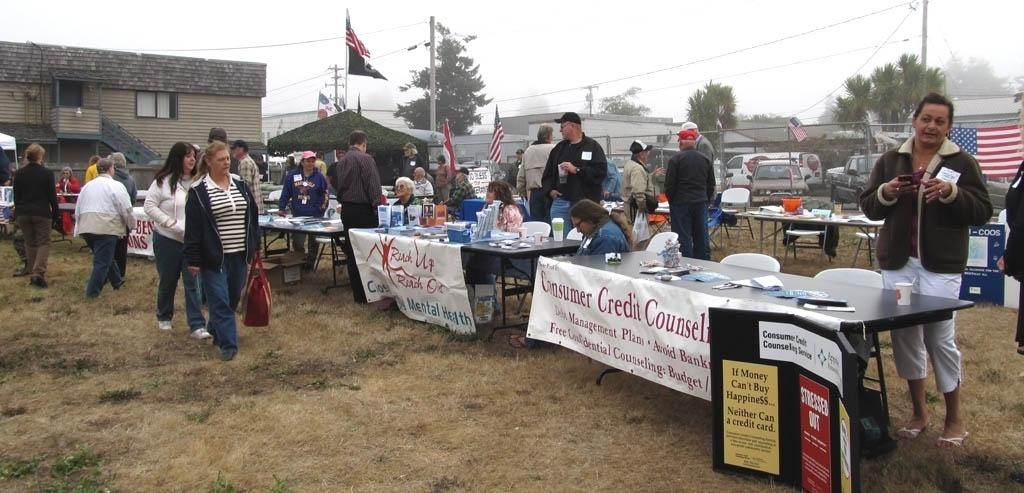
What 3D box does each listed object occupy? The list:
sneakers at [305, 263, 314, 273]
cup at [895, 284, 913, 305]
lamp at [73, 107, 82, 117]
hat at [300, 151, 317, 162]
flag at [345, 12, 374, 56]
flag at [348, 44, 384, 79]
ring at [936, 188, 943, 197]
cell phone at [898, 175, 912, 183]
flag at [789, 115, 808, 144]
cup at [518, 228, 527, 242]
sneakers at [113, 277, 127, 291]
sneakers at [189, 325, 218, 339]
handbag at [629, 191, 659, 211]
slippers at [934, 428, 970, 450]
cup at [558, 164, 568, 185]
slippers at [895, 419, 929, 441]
[{"bbox_3d":[-4.424,0.488,15.295,0.183,0.185,0.198,-3,14,45],"label":"sneakers"},{"bbox_3d":[5.171,0.631,9.226,0.190,0.273,0.091,1,12,14],"label":"cup"},{"bbox_3d":[-16.233,-5.023,26.112,0.266,0.334,0.131,-8,13,-28],"label":"lamp"},{"bbox_3d":[-4.212,-1.846,14.369,0.261,0.133,0.360,-3,5,-27],"label":"hat"},{"bbox_3d":[-5.130,-6.934,23.000,0.611,1.228,1.268,-4,11,-10],"label":"flag"},{"bbox_3d":[-4.904,-6.239,23.545,1.478,1.254,0.142,4,18,26],"label":"flag"},{"bbox_3d":[5.744,-0.717,9.392,0.107,0.097,0.017,-1,12,5],"label":"ring"},{"bbox_3d":[5.351,-0.909,9.511,0.188,0.105,0.081,-4,12,-12],"label":"cell phone"},{"bbox_3d":[9.186,-3.771,22.588,0.491,0.719,0.914,2,12,20],"label":"flag"},{"bbox_3d":[0.185,-0.200,12.055,0.228,0.257,0.201,-1,-3,1],"label":"cup"},{"bbox_3d":[-7.974,0.768,14.138,0.108,0.208,0.305,-2,23,22],"label":"sneakers"},{"bbox_3d":[-5.267,1.471,11.903,0.417,0.170,0.221,-6,-1,29],"label":"sneakers"},{"bbox_3d":[2.766,-0.927,14.517,0.372,0.188,0.497,19,4,29],"label":"handbag"},{"bbox_3d":[6.001,2.652,9.483,0.385,0.094,0.181,-7,4,-5],"label":"slippers"},{"bbox_3d":[0.903,-1.324,12.725,0.173,0.375,0.162,-2,12,0],"label":"cup"},{"bbox_3d":[5.516,2.543,9.648,0.514,0.185,0.179,-1,3,-27],"label":"slippers"}]
